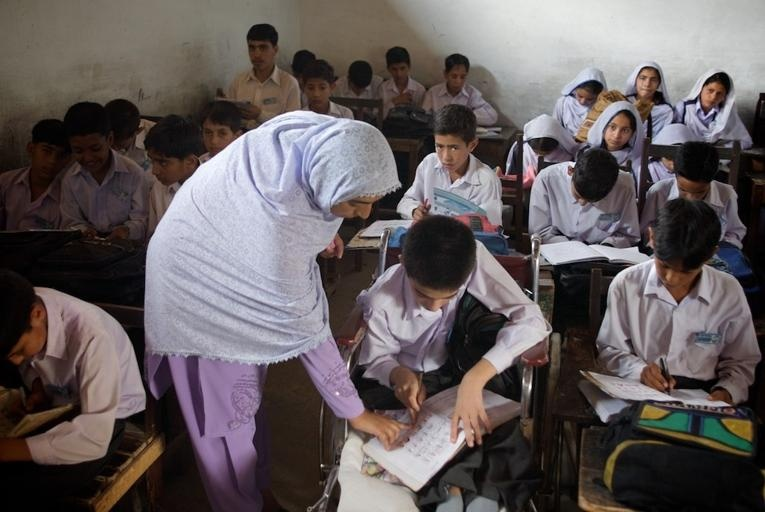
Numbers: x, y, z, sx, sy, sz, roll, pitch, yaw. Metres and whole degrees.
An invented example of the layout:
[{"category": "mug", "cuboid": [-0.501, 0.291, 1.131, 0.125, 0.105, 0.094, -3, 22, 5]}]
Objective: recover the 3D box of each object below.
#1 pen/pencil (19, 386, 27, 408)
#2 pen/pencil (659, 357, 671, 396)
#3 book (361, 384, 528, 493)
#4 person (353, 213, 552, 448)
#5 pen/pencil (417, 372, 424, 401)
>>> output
[{"category": "pen/pencil", "cuboid": [-1.419, 0.554, 2.544, 0.022, 0.118, 0.020, -1, -9, -15]}, {"category": "pen/pencil", "cuboid": [1.120, 0.486, 2.556, 0.018, 0.019, 0.137, 9, 60, -10]}, {"category": "book", "cuboid": [0.145, 0.700, 2.372, 0.308, 0.091, 0.523, 19, 49, 41]}, {"category": "person", "cuboid": [0.221, 0.280, 2.698, 0.774, 0.986, 0.849, -4, 58, 0]}, {"category": "pen/pencil", "cuboid": [0.148, 0.508, 2.501, 0.023, 0.085, 0.019, 10, -18, -23]}]
